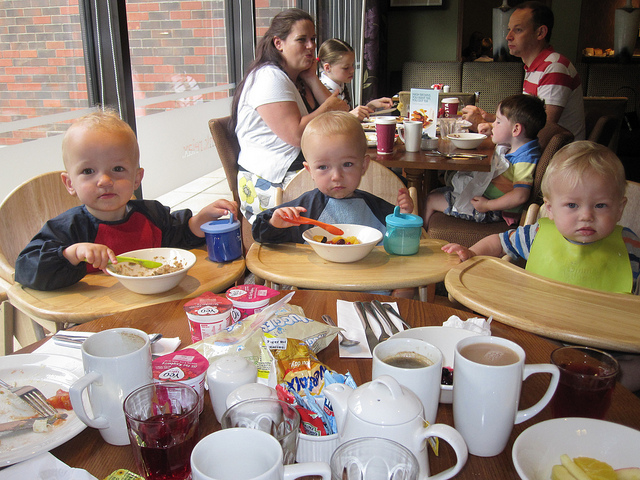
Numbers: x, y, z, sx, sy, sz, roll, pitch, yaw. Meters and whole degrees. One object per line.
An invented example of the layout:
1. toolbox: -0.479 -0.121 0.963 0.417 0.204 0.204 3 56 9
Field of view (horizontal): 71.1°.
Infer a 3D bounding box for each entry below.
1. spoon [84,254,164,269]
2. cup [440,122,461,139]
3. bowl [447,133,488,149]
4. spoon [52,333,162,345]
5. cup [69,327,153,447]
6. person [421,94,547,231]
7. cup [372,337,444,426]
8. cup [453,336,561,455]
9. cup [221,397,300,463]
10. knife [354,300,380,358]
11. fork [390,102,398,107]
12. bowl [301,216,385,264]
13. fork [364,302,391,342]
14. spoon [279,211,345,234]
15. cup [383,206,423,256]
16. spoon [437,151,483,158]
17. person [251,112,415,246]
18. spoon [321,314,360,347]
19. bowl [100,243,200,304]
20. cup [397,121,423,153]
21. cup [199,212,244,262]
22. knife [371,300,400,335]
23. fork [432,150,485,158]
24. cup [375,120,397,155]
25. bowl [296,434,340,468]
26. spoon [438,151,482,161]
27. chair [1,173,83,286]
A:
1. spoon: -0.561 0.063 1.288 0.219 0.034 0.036 0 -11 -33
2. cup: 0.945 -0.812 3.273 0.155 0.131 0.149 -4 18 1
3. bowl: 0.916 -0.635 2.850 0.163 0.060 0.163 -2 19 1
4. spoon: -0.389 0.184 0.827 0.060 0.043 0.046 8 19 -10
5. cup: -0.327 0.225 0.757 0.126 0.187 0.145 -5 18 -27
6. person: 1.032 -0.422 2.959 0.731 1.056 0.482 9 28 26
7. cup: 0.120 0.207 0.731 0.109 0.133 0.146 1 10 4
8. cup: 0.302 0.254 0.724 0.160 0.158 0.102 0 13 20
9. cup: -0.081 0.246 0.646 0.088 0.075 0.100 3 8 18
10. knife: 0.108 0.194 1.021 0.026 0.218 0.014 -18 46 4
11. fork: 0.787 -1.410 4.676 0.028 0.031 0.117 0 21 29
12. bowl: 0.084 -0.001 1.460 0.241 0.117 0.284 2 21 14
13. fork: 0.137 0.186 1.038 0.020 0.008 0.111 -12 26 -2
14. spoon: -0.029 -0.059 1.565 0.186 0.032 0.027 19 23 -1
15. cup: 0.271 -0.017 1.463 0.127 0.160 0.114 11 13 14
16. spoon: 0.827 -0.499 2.637 0.256 0.041 0.035 9 7 9
17. person: 0.025 -0.267 1.930 0.654 0.787 0.448 -3 13 -5
18. spoon: 0.047 0.208 1.000 0.034 0.020 0.138 -2 21 -25
19. bowl: -0.512 0.090 1.340 0.267 0.116 0.277 -5 8 1
20. cup: 0.555 -0.639 2.750 0.152 0.154 0.102 2 7 8
21. cup: -0.308 -0.007 1.420 0.118 0.144 0.158 -3 17 4
22. knife: 0.162 0.182 1.043 0.020 0.006 0.115 -3 21 -8
23. fork: 0.828 -0.510 2.669 0.382 0.054 0.044 3 40 15
24. cup: 0.383 -0.613 2.642 0.157 0.197 0.147 -2 16 1
25. bowl: -0.003 0.307 0.659 0.057 0.036 0.058 0 5 0
26. spoon: 0.821 -0.490 2.620 0.273 0.042 0.040 14 -2 17
27. chair: -0.885 -0.027 1.434 0.205 0.300 0.237 11 34 15
